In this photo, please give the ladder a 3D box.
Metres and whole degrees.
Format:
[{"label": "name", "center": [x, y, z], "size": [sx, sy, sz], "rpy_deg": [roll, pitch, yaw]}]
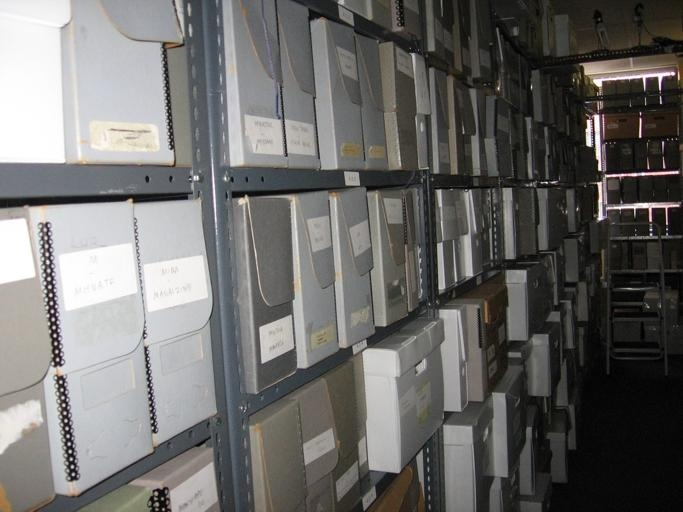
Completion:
[{"label": "ladder", "center": [3.046, 0.438, 5.903], "size": [0.539, 1.483, 0.506], "rpy_deg": [-1, -3, 18]}]
